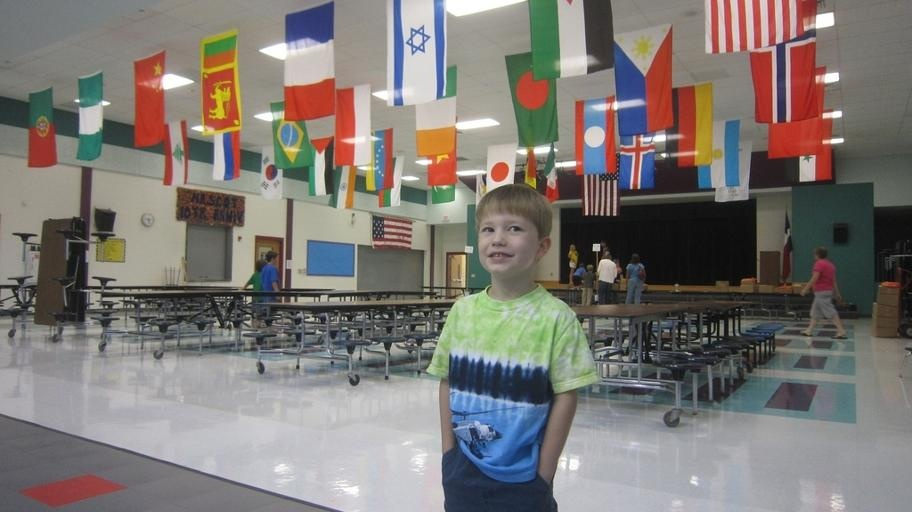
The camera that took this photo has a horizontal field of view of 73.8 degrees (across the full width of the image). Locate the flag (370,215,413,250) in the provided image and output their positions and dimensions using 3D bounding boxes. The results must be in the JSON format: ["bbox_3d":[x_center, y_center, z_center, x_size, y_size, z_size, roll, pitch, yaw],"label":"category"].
[{"bbox_3d":[-2.601,-0.957,24.562,1.861,1.253,0.209,6,-7,-40],"label":"flag"}]

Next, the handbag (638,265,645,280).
[{"bbox_3d":[5.003,0.447,16.507,0.233,0.462,0.485,-7,-3,17],"label":"handbag"}]

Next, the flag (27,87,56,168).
[{"bbox_3d":[-8.897,-2.855,13.154,0.502,1.783,0.745,6,-7,-40],"label":"flag"}]

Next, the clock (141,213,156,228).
[{"bbox_3d":[-8.956,-1.050,17.766,0.106,0.433,0.420,-2,-7,31],"label":"clock"}]

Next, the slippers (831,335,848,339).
[{"bbox_3d":[8.587,1.824,13.731,0.374,0.089,0.131,2,0,10],"label":"slippers"}]

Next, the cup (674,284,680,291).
[{"bbox_3d":[7.425,1.066,20.588,0.169,0.153,0.113,1,9,-1],"label":"cup"}]

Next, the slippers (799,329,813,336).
[{"bbox_3d":[7.797,1.723,13.574,0.264,0.157,0.455,0,-7,6],"label":"slippers"}]

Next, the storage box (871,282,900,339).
[{"bbox_3d":[9.891,1.286,14.037,0.456,1.154,1.252,2,-5,37],"label":"storage box"}]

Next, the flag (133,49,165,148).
[{"bbox_3d":[-5.787,-2.968,11.551,0.663,1.714,0.265,-1,-6,19],"label":"flag"}]

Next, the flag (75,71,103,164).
[{"bbox_3d":[-7.308,-2.812,12.226,0.630,1.723,0.291,-1,-6,23],"label":"flag"}]

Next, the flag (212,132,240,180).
[{"bbox_3d":[-5.042,-2.223,13.413,0.719,1.031,0.255,-2,-6,27],"label":"flag"}]

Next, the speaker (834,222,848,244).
[{"bbox_3d":[12.003,-0.710,19.042,0.455,0.658,0.243,-2,-7,28],"label":"speaker"}]
